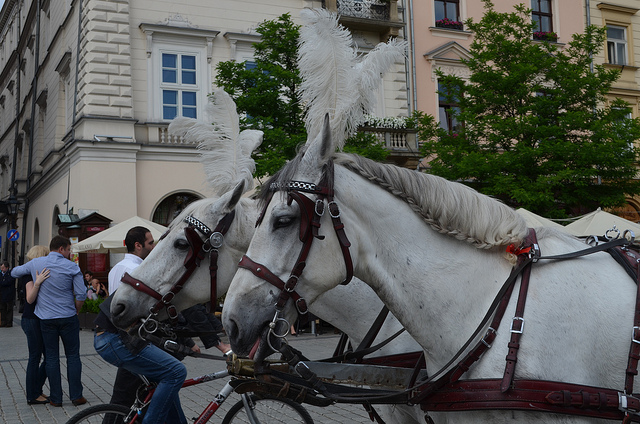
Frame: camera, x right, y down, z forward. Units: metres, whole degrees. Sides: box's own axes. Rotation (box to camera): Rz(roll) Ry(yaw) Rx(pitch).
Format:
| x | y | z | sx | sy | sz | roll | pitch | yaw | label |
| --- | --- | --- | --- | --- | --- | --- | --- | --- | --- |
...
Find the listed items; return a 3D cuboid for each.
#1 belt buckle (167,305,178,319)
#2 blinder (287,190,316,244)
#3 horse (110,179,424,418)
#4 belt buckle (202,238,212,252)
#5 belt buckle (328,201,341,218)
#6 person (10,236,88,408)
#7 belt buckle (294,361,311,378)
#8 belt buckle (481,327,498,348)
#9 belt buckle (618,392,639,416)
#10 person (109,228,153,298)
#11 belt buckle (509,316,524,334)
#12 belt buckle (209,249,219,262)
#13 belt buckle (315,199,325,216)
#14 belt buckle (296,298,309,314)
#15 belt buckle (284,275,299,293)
| x | y | z | sx | sy | sz | roll | pitch | yaw | label |
| --- | --- | --- | --- | --- | --- | --- | --- | --- | --- |
| -1.477 | 1.000 | 6.585 | 0.118 | 0.141 | 0.046 | 3 | 0 | -34 | belt buckle |
| -0.158 | 0.016 | 5.279 | 0.196 | 0.436 | 0.189 | 1 | -25 | 3 | blinder |
| -0.627 | 0.598 | 6.827 | 1.685 | 3.485 | 1.416 | -2 | -4 | 31 | horse |
| -1.133 | 0.326 | 6.579 | 0.076 | 0.138 | 0.021 | 17 | 0 | 2 | belt buckle |
| 0.104 | -0.017 | 5.311 | 0.082 | 0.120 | 0.041 | -8 | -3 | -21 | belt buckle |
| -3.994 | 1.646 | 10.007 | 0.922 | 2.618 | 0.839 | 3 | 0 | -25 | person |
| -0.161 | 1.328 | 5.547 | 0.135 | 0.102 | 0.056 | 38 | -12 | -8 | belt buckle |
| 1.361 | 1.004 | 5.320 | 0.106 | 0.155 | 0.055 | 13 | -19 | 49 | belt buckle |
| 2.455 | 1.539 | 5.270 | 0.175 | 0.068 | 0.136 | 9 | -6 | 1 | belt buckle |
| -2.186 | 0.703 | 7.909 | 0.484 | 1.065 | 0.634 | 2 | 7 | -14 | person |
| 1.569 | 0.906 | 5.266 | 0.091 | 0.132 | 0.044 | 2 | -16 | 17 | belt buckle |
| -1.071 | 0.431 | 6.585 | 0.084 | 0.119 | 0.029 | 3 | -2 | -6 | belt buckle |
| -0.011 | -0.034 | 5.305 | 0.074 | 0.130 | 0.027 | 3 | 0 | -6 | belt buckle |
| -0.148 | 0.748 | 5.236 | 0.082 | 0.112 | 0.038 | -24 | 8 | -21 | belt buckle |
| -0.229 | 0.564 | 5.221 | 0.084 | 0.146 | 0.029 | 22 | -19 | 1 | belt buckle |
